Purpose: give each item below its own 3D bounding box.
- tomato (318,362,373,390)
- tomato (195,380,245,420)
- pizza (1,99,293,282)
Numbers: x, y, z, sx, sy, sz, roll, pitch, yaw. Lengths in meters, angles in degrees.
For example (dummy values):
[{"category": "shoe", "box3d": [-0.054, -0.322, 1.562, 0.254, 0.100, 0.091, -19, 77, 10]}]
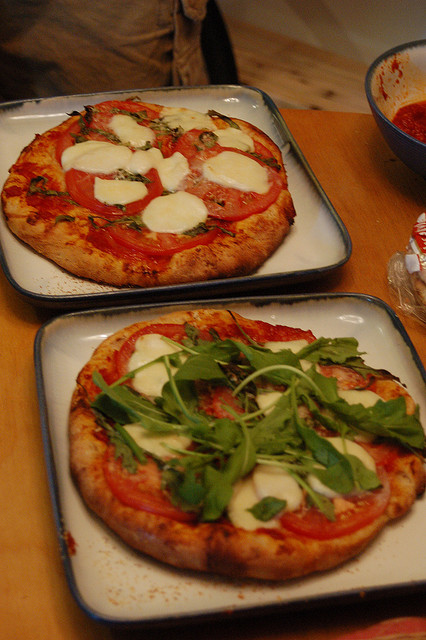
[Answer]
[{"category": "tomato", "box3d": [0.276, 0.117, 1.153, 0.113, 0.030, 0.067, -6, 52, -10]}, {"category": "tomato", "box3d": [0.012, 0.144, 1.038, 0.086, 0.031, 0.093, -1, 51, -6]}, {"category": "pizza", "box3d": [-0.194, -0.276, 1.595, 0.682, 0.105, 0.638, -3, 50, -18]}]
